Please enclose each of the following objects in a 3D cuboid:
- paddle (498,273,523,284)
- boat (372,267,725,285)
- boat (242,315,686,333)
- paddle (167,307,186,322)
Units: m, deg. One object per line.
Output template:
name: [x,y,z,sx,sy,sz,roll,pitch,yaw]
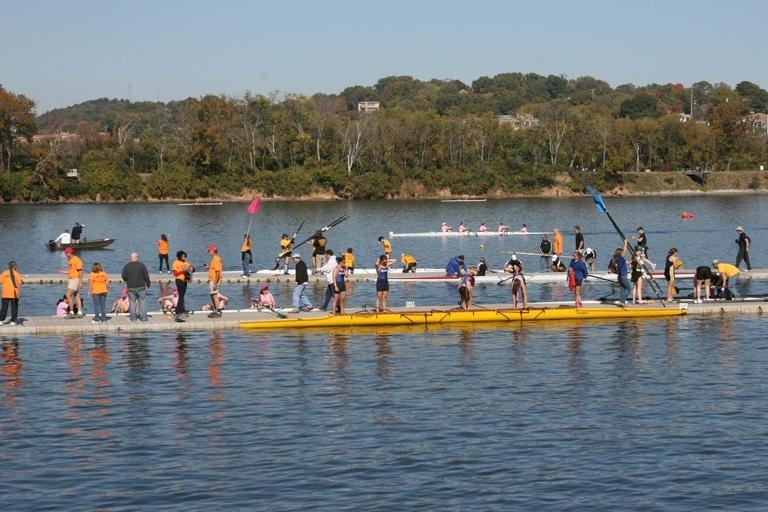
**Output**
paddle: [9.936,1.814,126.201,1.973,0.973,0.428,-12,24,-41]
boat: [12.746,1.518,122.909,19.717,1.907,1.270,1,2,-1]
boat: [5.420,4.430,115.997,30.243,1.008,0.775,-2,1,-2]
paddle: [-15.087,4.323,116.116,1.040,0.730,1.474,-3,1,-14]
